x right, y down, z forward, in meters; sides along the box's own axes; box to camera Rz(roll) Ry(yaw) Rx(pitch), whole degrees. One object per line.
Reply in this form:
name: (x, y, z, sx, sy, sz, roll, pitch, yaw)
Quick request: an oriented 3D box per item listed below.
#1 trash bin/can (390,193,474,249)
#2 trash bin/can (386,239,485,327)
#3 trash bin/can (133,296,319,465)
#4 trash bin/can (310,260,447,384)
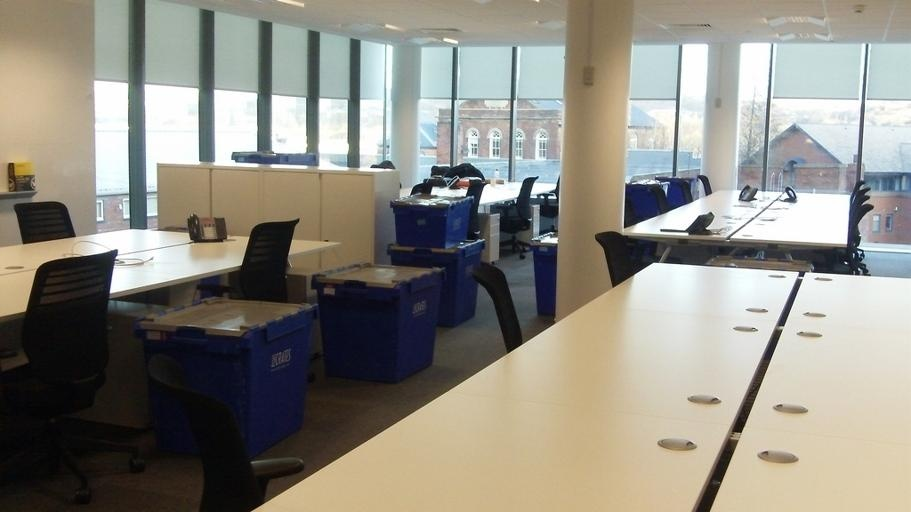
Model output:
trash bin/can: (-0.190, -0.363, 7.694, 0.897, 0.499, 0.990, 3, 6, 19)
trash bin/can: (-0.203, 0.298, 7.688, 0.942, 0.968, 1.010, -1, 7, 16)
trash bin/can: (-1.796, 0.939, 5.235, 1.078, 0.941, 1.207, 3, 6, 15)
trash bin/can: (-0.742, 0.598, 6.318, 1.020, 0.823, 1.127, 4, 4, 17)
